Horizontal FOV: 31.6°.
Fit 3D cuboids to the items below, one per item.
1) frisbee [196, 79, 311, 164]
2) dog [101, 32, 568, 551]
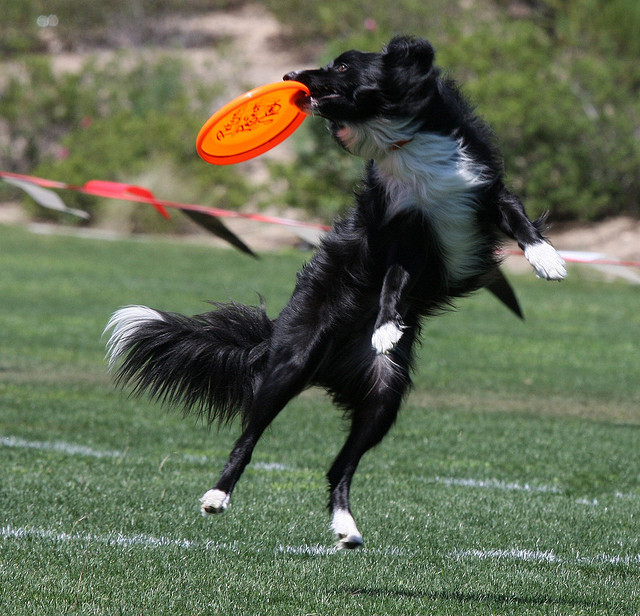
[{"bbox_3d":[-0.420,-1.091,6.488,0.134,0.656,0.600,42,-20,28],"label":"frisbee"},{"bbox_3d":[0.122,-0.028,6.076,2.110,2.864,0.941,2,18,-7],"label":"dog"}]
